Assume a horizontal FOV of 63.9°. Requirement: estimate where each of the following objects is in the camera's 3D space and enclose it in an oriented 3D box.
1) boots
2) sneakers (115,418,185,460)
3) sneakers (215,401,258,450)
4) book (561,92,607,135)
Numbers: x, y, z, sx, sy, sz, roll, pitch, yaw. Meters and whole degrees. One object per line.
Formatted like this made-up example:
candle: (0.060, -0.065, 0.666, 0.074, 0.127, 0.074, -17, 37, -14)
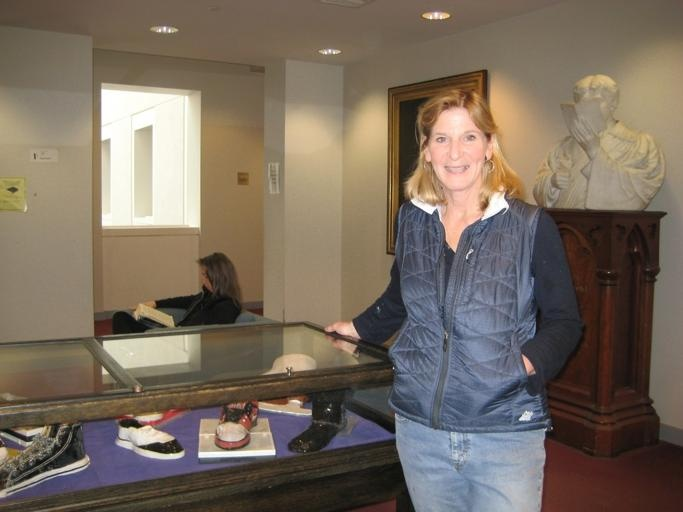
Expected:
boots: (-0.055, 0.501, 1.710, 0.099, 0.106, 0.277, 0, 5, 24)
sneakers: (-0.542, 0.503, 1.565, 0.206, 0.075, 0.093, 10, 11, 12)
sneakers: (-0.300, 0.494, 1.594, 0.082, 0.086, 0.189, 1, -7, 0)
book: (1.522, -0.894, 3.426, 0.240, 0.235, 0.076, -17, 13, 28)
